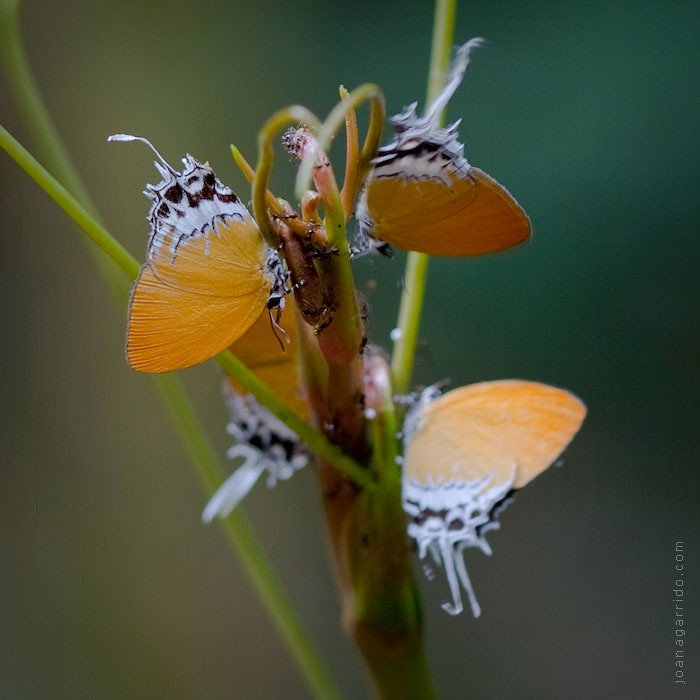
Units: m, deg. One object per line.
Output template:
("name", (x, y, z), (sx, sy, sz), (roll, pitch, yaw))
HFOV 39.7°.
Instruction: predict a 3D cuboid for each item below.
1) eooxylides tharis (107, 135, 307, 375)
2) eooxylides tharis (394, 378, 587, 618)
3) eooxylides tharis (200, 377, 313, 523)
("eooxylides tharis", (-0.066, -0.068, 0.468), (0.045, 0.078, 0.079), (7, 37, -54))
("eooxylides tharis", (0.078, 0.074, 0.551), (0.091, 0.072, 0.101), (-34, 51, -31))
("eooxylides tharis", (-0.056, 0.062, 0.529), (0.054, 0.053, 0.052), (15, 40, 33))
